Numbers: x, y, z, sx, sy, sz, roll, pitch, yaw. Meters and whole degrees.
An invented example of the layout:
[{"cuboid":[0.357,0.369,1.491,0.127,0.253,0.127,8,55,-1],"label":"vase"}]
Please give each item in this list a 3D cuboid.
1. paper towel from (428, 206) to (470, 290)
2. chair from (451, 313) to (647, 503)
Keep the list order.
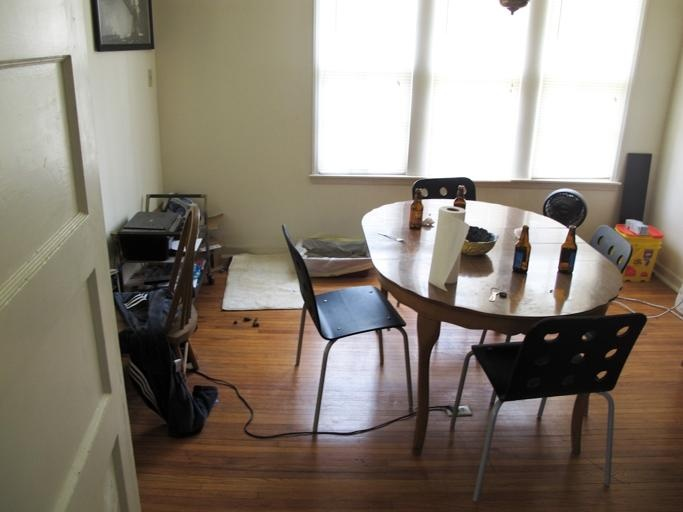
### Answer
[{"cuboid":[0.499,-0.054,2.484,0.148,0.354,0.323,3,21,9],"label":"paper towel"},{"cuboid":[0.901,0.538,2.403,0.617,0.814,0.447,-3,22,-7],"label":"chair"}]
